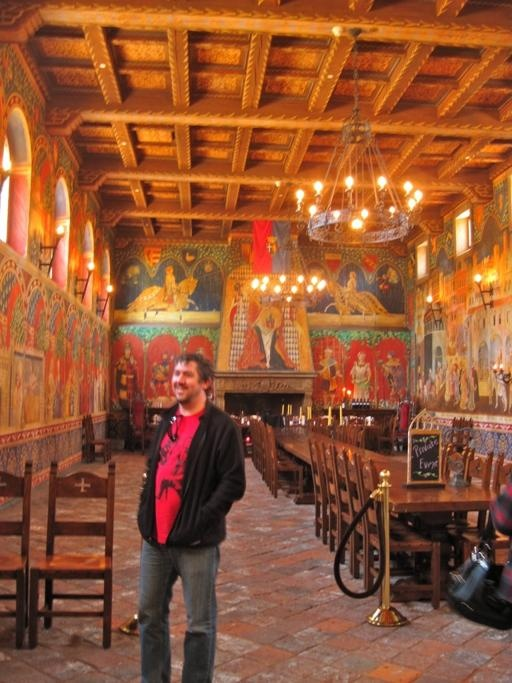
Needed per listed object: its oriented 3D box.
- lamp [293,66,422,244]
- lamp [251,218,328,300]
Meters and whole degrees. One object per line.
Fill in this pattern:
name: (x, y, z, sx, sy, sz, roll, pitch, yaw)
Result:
lamp: (1.500, -2.924, 8.398, 1.847, 2.629, 1.832, -4, 10, -6)
lamp: (0.494, -2.029, 14.623, 1.712, 1.936, 1.684, -5, -5, 33)
